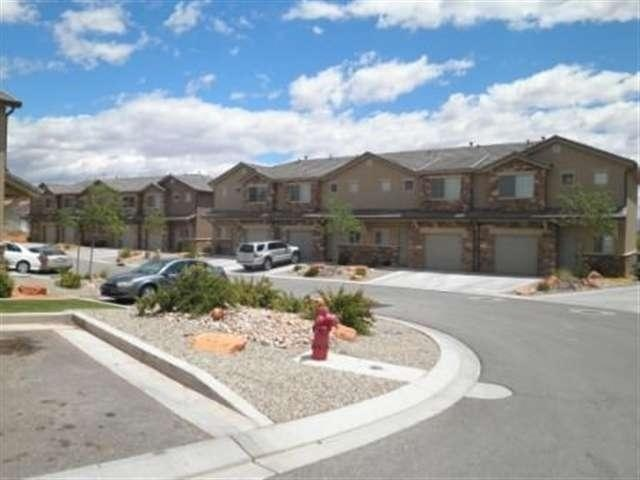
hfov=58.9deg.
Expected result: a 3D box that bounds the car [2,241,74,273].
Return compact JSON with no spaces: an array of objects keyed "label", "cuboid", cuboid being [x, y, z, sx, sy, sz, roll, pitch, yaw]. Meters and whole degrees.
[{"label":"car","cuboid":[-14.220,0.933,28.256,3.259,1.617,1.577,-1,-1,31]}]

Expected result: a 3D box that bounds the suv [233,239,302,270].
[{"label":"suv","cuboid":[-3.174,0.834,33.516,1.517,1.329,3.687,3,9,37]}]
